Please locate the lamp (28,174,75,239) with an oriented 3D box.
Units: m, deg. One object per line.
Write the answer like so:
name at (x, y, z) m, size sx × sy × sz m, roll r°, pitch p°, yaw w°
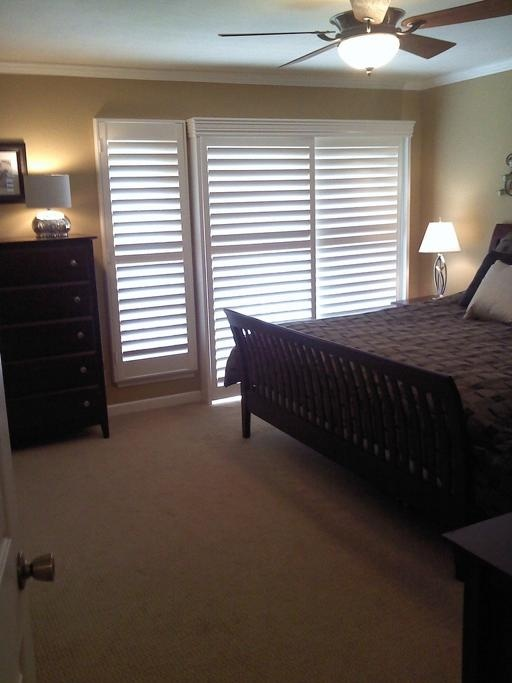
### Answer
lamp at (-1.327, -0.865, 3.297) m, size 0.243 × 0.405 × 0.261 m, roll 4°, pitch 13°, yaw 16°
